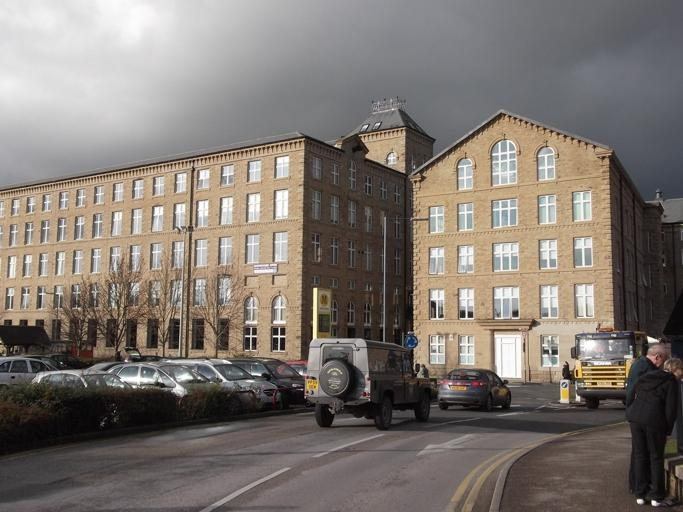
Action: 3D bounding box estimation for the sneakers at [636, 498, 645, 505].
[{"bbox_3d":[5.291,4.300,12.765,0.144,0.104,0.078,-6,-13,21],"label":"sneakers"}]

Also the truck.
[{"bbox_3d":[13.133,5.723,33.958,3.707,4.205,6.851,-5,-14,27],"label":"truck"}]
